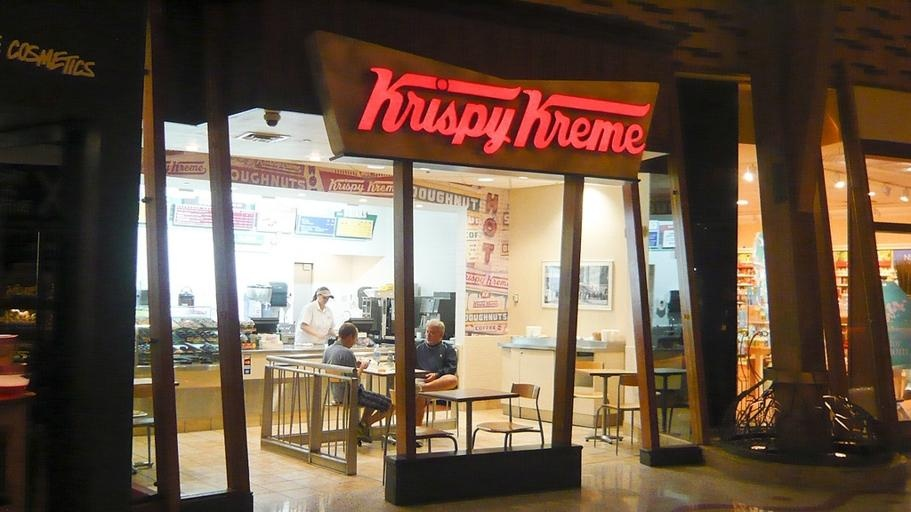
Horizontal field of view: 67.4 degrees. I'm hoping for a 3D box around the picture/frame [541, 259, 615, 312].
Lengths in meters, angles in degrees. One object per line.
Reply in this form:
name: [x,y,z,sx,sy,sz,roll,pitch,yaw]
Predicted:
picture/frame: [2.080,0.474,11.210,1.118,0.669,0.028,0,-4,32]
